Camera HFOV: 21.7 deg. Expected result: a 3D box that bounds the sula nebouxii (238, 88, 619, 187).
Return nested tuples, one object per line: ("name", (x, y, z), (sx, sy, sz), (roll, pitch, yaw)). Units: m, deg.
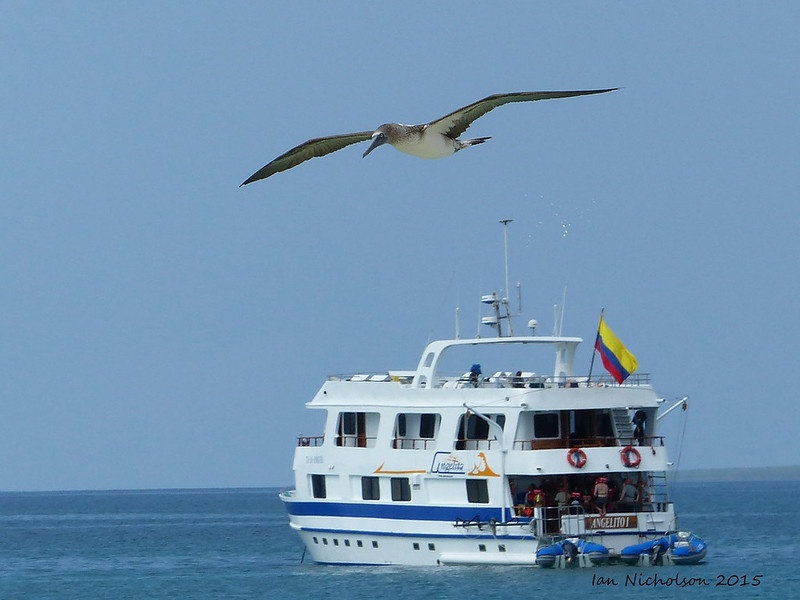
("sula nebouxii", (0.913, -6.987, 91.072), (17.938, 2.380, 10.747), (-9, 5, 24))
